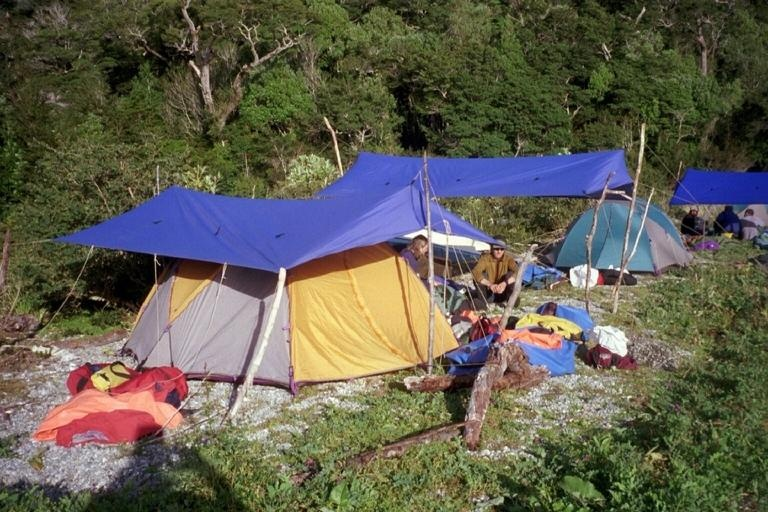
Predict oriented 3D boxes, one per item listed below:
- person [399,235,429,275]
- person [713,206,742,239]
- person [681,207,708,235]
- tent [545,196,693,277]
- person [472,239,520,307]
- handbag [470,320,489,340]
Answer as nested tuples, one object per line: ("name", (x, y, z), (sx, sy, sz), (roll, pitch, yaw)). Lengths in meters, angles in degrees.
("person", (0.605, -0.067, 12.646), (0.527, 0.365, 0.850), (-13, 33, -29))
("person", (10.642, -0.905, 19.988), (0.832, 0.853, 1.238), (8, 42, 27))
("person", (9.460, -0.902, 19.781), (0.652, 0.993, 0.959), (-2, -4, 5))
("tent", (5.522, -0.398, 16.033), (2.151, 1.013, 2.037), (-10, 9, -32))
("person", (2.301, 0.347, 13.713), (0.998, 1.612, 1.245), (2, 13, 6))
("handbag", (1.734, 1.375, 11.785), (0.342, 0.361, 0.261), (7, 13, 20))
